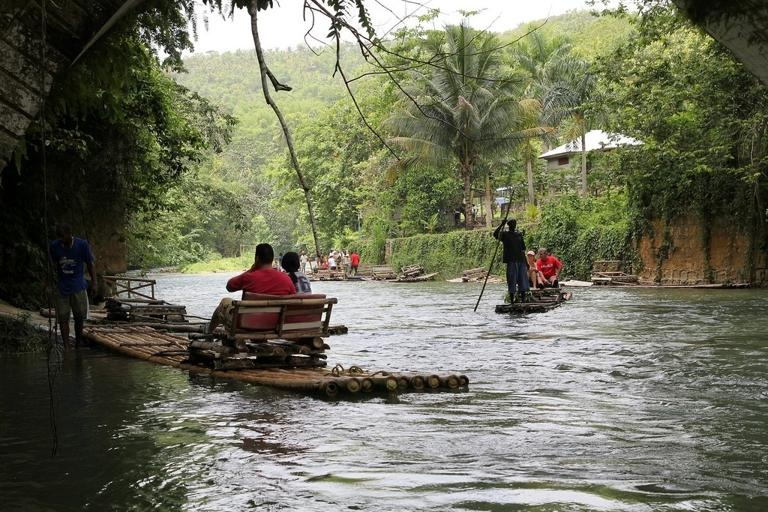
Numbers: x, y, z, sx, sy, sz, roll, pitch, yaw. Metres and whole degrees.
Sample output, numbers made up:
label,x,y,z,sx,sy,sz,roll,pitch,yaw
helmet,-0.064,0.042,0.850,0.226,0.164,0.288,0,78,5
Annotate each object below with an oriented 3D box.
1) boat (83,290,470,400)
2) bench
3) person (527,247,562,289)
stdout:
label,x,y,z,sx,sy,sz,roll,pitch,yaw
boat,-2.908,1.713,13.695,2.296,1.279,8.710,5,-1,-38
bench,-1.926,1.039,12.646,1.732,0.848,1.574,1,-3,-38
person,4.568,0.419,22.639,0.954,1.377,1.403,-1,-16,1
